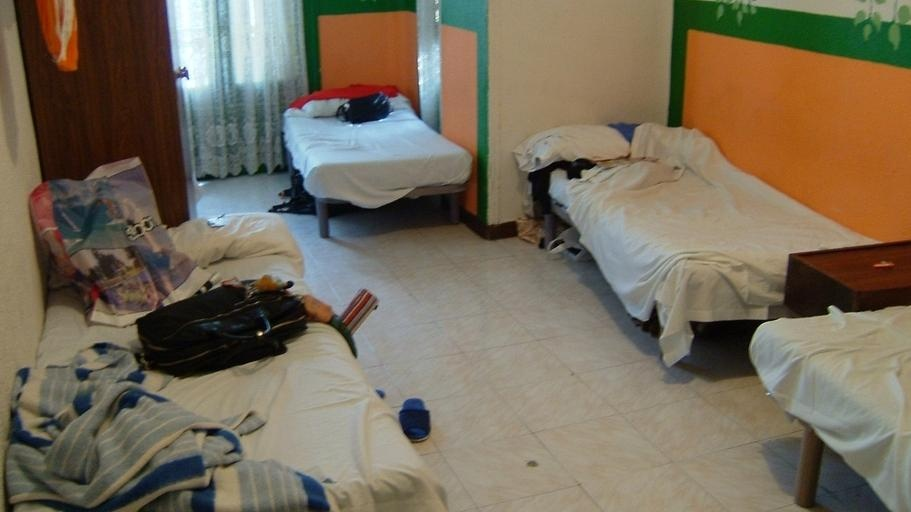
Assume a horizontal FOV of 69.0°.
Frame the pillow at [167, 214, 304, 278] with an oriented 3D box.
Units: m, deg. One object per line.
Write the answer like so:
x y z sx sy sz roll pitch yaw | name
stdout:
-1.458 -0.115 4.397 0.595 0.170 0.563 -9 36 -17 | pillow

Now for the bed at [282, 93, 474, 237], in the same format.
-0.958 -0.811 6.692 1.372 0.765 1.951 -11 36 -16 | bed

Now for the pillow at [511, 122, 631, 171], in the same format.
0.973 -0.925 5.500 0.683 0.189 0.441 -8 34 1 | pillow

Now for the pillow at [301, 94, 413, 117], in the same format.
-1.178 -1.562 7.016 0.717 0.110 0.436 -10 27 -14 | pillow

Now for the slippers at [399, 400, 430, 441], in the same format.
-0.237 0.956 3.894 0.175 0.079 0.264 0 53 -4 | slippers

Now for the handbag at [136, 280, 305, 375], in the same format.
-1.264 0.383 3.603 0.640 0.208 0.507 -12 28 -20 | handbag
